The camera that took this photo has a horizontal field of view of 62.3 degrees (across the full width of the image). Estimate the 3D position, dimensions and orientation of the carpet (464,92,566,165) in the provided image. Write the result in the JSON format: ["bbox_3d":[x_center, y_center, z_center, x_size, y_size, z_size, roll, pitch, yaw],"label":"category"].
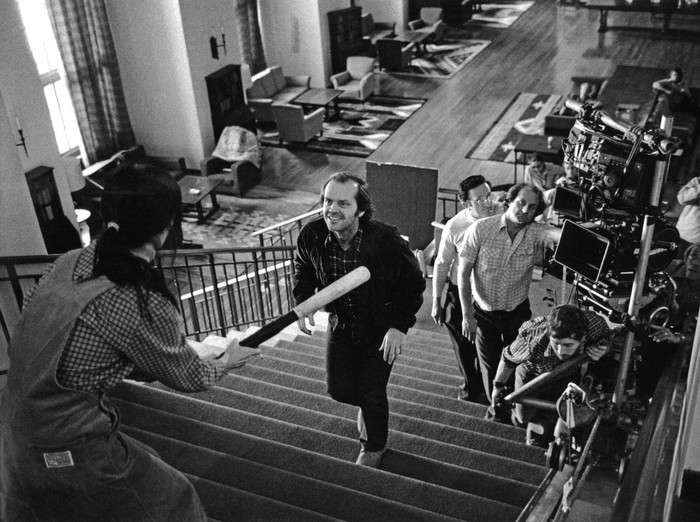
[{"bbox_3d":[3.653,-2.998,12.857,1.552,0.048,4.154,13,48,25],"label":"carpet"}]

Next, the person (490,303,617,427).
[{"bbox_3d":[1.200,0.716,3.729,0.633,1.422,0.345,-18,56,-9],"label":"person"}]

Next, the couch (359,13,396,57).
[{"bbox_3d":[0.777,-6.662,17.123,0.906,1.002,2.071,8,43,13],"label":"couch"}]

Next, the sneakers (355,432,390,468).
[{"bbox_3d":[0.104,0.994,3.008,0.077,0.088,0.210,8,23,20],"label":"sneakers"}]

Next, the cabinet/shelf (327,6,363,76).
[{"bbox_3d":[-0.204,-6.038,15.850,0.493,1.644,1.755,10,37,21],"label":"cabinet/shelf"}]

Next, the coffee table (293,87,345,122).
[{"bbox_3d":[-0.785,-3.827,13.758,0.790,0.580,1.218,11,40,18],"label":"coffee table"}]

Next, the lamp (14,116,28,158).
[{"bbox_3d":[-3.894,-1.466,6.859,0.100,0.483,0.171,-13,26,-22],"label":"lamp"}]

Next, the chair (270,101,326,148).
[{"bbox_3d":[-1.104,-3.204,13.171,0.953,1.089,1.007,10,42,14],"label":"chair"}]

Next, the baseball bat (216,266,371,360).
[{"bbox_3d":[-0.450,0.393,4.226,1.410,0.161,0.192,-32,57,-21],"label":"baseball bat"}]

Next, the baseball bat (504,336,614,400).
[{"bbox_3d":[1.207,0.619,3.387,0.706,0.154,0.128,-33,13,-11],"label":"baseball bat"}]

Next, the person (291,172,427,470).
[{"bbox_3d":[0.038,0.368,3.130,0.701,1.599,0.676,5,13,30],"label":"person"}]

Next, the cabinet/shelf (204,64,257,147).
[{"bbox_3d":[-2.665,-3.387,12.664,0.612,1.783,1.411,10,40,15],"label":"cabinet/shelf"}]

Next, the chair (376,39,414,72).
[{"bbox_3d":[1.272,-5.930,16.505,0.870,1.075,0.990,9,41,14],"label":"chair"}]

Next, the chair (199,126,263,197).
[{"bbox_3d":[-2.429,-2.048,11.929,0.986,1.185,1.015,6,29,12],"label":"chair"}]

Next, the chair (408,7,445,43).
[{"bbox_3d":[2.349,-7.185,17.650,1.103,1.189,0.987,13,51,16],"label":"chair"}]

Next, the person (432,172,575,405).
[{"bbox_3d":[1.049,0.312,3.960,0.785,1.586,0.471,10,24,16],"label":"person"}]

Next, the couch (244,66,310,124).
[{"bbox_3d":[-1.774,-3.925,13.827,0.830,0.811,1.913,14,48,14],"label":"couch"}]
